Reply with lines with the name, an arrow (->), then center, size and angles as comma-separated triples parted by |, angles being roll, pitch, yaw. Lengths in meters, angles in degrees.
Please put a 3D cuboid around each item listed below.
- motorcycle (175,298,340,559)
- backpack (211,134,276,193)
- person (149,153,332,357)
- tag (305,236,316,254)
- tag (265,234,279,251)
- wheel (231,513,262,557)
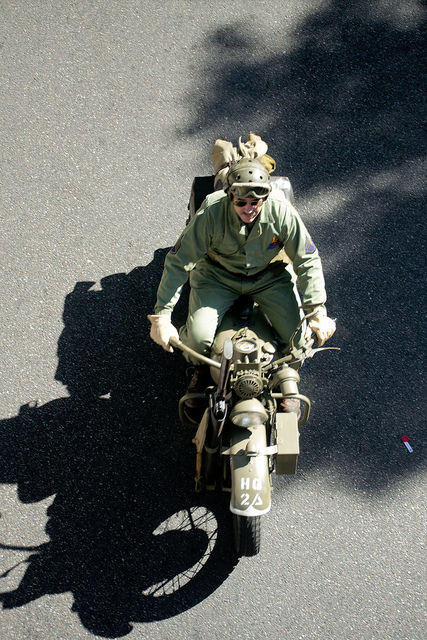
motorcycle -> 0.164, 0.484, 2.761 | 0.783, 0.906, 1.401 | 2, 60, -1
backpack -> 0.139, -0.875, 3.174 | 0.435, 0.191, 0.419 | -1, 82, -4
person -> 0.085, -0.195, 2.980 | 0.928, 1.232, 0.739 | -6, 41, -7
tag -> 0.470, -0.369, 2.875 | 0.074, 0.018, 0.071 | 18, 75, -34
tag -> 0.299, -0.387, 2.902 | 0.037, 0.068, 0.052 | 38, 60, -3
wheel -> 0.160, 1.040, 2.783 | 0.138, 0.120, 0.214 | 10, 27, 13
